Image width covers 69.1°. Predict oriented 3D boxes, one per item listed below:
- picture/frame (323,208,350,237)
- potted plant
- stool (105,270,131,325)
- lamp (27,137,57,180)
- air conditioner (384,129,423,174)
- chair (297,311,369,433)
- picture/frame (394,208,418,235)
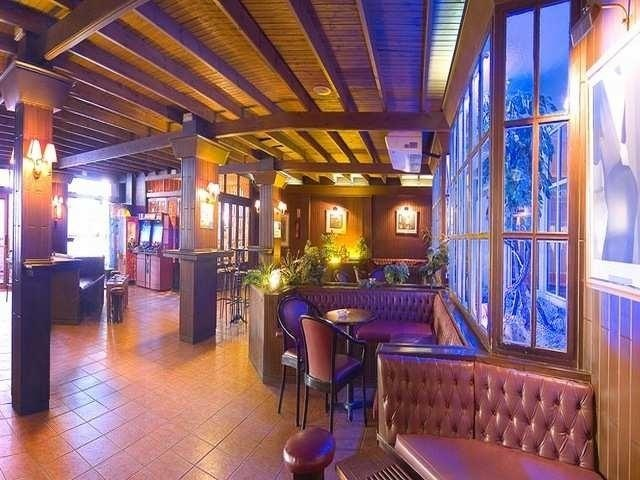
[{"bbox_3d":[0.535,-0.543,14.053,0.766,1.061,0.103,0,-3,9],"label":"picture/frame"},{"bbox_3d":[0.509,0.519,9.360,3.349,1.415,0.945,2,-11,0],"label":"potted plant"},{"bbox_3d":[-3.825,1.124,8.819,0.241,0.710,0.724,-1,5,-13],"label":"stool"},{"bbox_3d":[-3.198,-0.936,5.354,0.286,0.444,0.146,-7,13,-34],"label":"lamp"},{"bbox_3d":[1.401,-1.632,7.784,0.482,0.189,0.787,-1,-21,15],"label":"air conditioner"},{"bbox_3d":[0.163,1.352,5.200,0.759,1.312,1.232,1,11,6],"label":"chair"},{"bbox_3d":[2.571,-0.550,13.713,0.669,0.991,0.093,1,0,11],"label":"picture/frame"}]
